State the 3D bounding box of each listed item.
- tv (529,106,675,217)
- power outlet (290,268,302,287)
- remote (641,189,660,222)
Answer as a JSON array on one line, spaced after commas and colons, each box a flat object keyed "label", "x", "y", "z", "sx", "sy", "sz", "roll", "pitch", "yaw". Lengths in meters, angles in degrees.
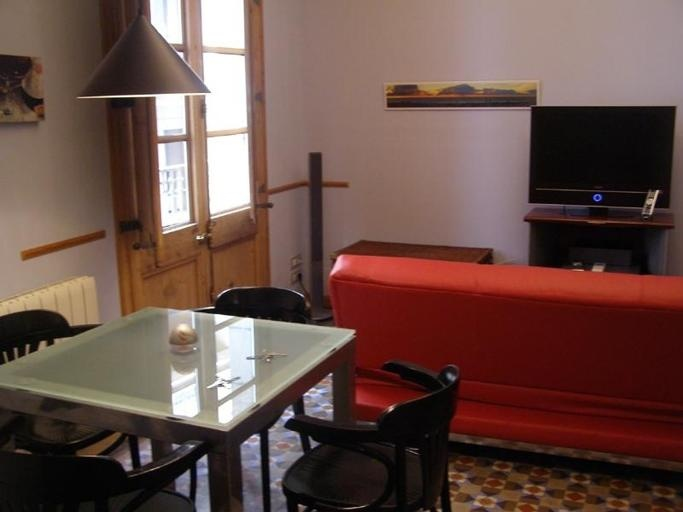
[{"label": "tv", "x": 2.418, "y": -0.893, "z": 5.165, "sx": 0.987, "sy": 0.788, "sz": 0.105, "roll": 2, "pitch": 7, "yaw": 18}, {"label": "power outlet", "x": -0.502, "y": 0.244, "z": 6.231, "sx": 0.044, "sy": 0.162, "sz": 0.166, "roll": 4, "pitch": 4, "yaw": 25}, {"label": "remote", "x": 2.734, "y": -0.455, "z": 5.023, "sx": 0.073, "sy": 0.275, "sz": 0.157, "roll": 13, "pitch": 4, "yaw": -14}]
